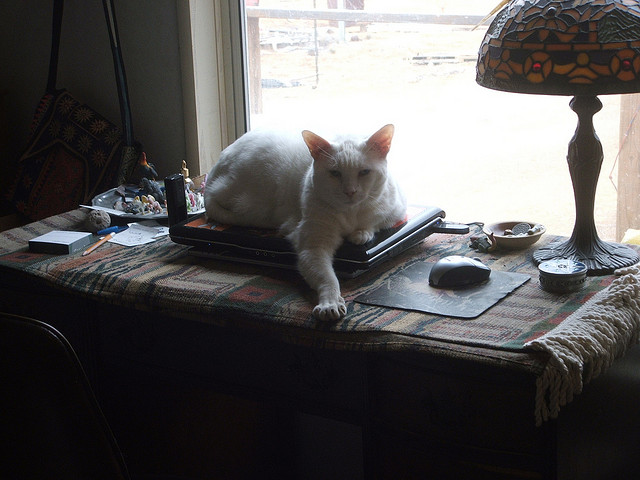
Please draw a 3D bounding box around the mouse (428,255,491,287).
[{"bbox_3d":[0.312,0.061,1.196,0.109,0.036,0.071,-7,15,-17],"label":"mouse"}]

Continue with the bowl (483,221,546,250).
[{"bbox_3d":[0.518,-0.011,1.404,0.156,0.051,0.121,1,18,6],"label":"bowl"}]

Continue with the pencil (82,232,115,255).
[{"bbox_3d":[-0.626,0.012,1.494,0.014,0.011,0.128,11,25,16],"label":"pencil"}]

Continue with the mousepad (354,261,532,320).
[{"bbox_3d":[0.281,0.109,1.194,0.340,0.026,0.262,7,19,24],"label":"mousepad"}]

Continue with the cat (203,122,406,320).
[{"bbox_3d":[-0.120,-0.100,1.323,0.561,0.364,0.503,7,20,23],"label":"cat"}]
